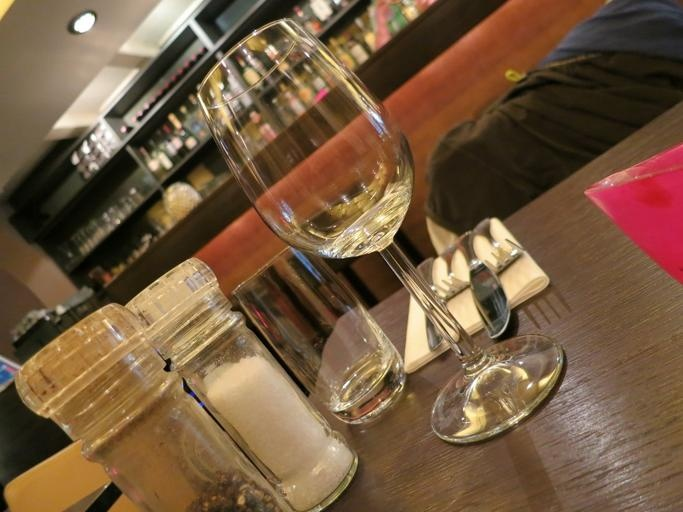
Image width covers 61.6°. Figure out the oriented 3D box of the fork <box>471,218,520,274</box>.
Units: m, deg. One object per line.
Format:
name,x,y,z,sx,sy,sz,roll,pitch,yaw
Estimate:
fork,0.187,-0.015,0.700,0.038,0.019,0.071,-35,33,5
